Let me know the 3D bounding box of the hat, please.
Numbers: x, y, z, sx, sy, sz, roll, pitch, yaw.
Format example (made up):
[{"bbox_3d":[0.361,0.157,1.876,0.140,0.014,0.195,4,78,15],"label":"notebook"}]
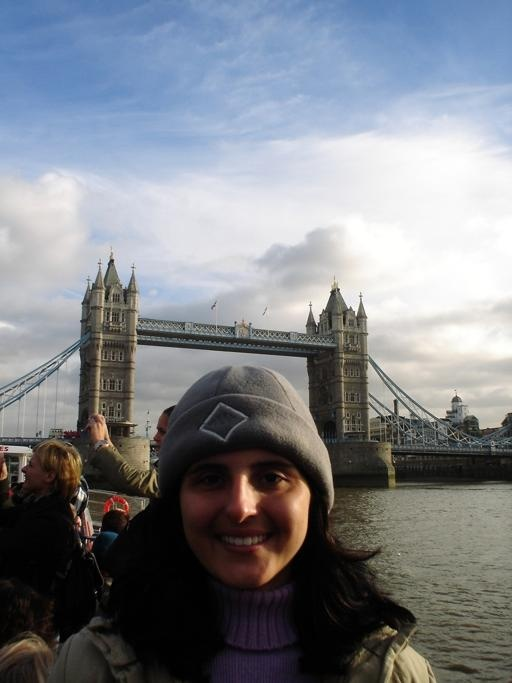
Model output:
[{"bbox_3d":[-0.017,0.177,1.468,0.367,0.259,0.367,15,-21,-38],"label":"hat"}]
